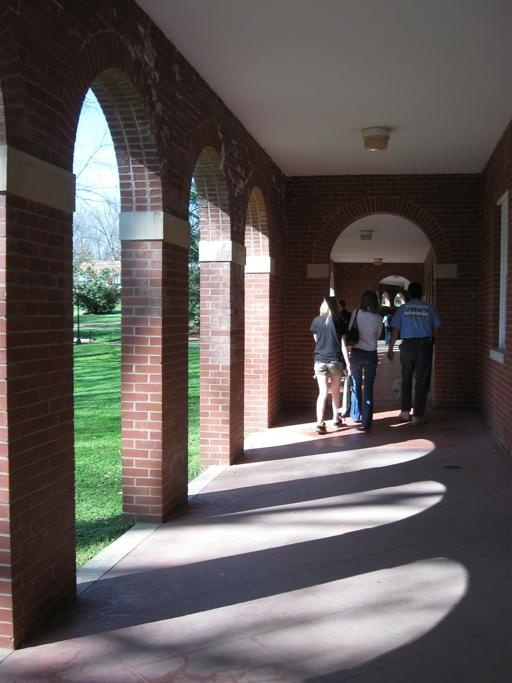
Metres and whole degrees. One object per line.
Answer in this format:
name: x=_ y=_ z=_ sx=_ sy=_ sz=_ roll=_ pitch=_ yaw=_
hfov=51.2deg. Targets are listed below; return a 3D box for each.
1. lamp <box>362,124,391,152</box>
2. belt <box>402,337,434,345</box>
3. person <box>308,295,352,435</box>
lamp: x=1.471 y=-2.524 z=6.642 sx=0.305 sy=0.200 sz=0.313 roll=-1 pitch=-2 yaw=39
belt: x=2.337 y=-0.039 z=7.747 sx=0.411 sy=0.107 sz=0.161 roll=5 pitch=4 yaw=15
person: x=1.026 y=0.321 z=7.429 sx=0.540 sy=1.854 sz=0.986 roll=4 pitch=4 yaw=10
